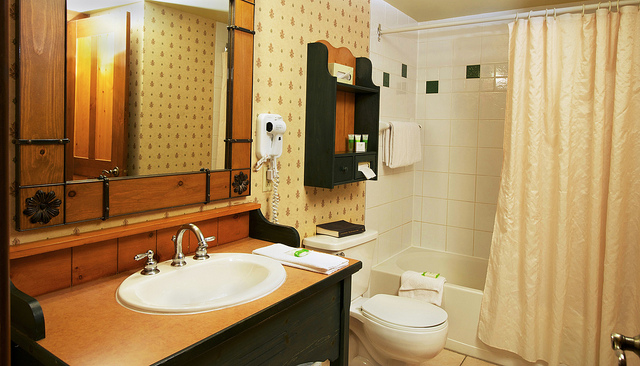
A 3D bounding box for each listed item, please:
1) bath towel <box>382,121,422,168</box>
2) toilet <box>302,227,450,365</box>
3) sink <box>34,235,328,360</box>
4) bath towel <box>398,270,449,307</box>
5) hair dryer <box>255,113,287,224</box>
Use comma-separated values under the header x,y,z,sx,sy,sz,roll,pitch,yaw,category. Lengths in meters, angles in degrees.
x,y,z,sx,sy,sz,roll,pitch,yaw,category
0.767,-0.373,4.000,0.116,0.415,0.590,6,12,35,bath towel
0.465,0.903,3.551,1.198,1.097,0.910,-1,1,29,toilet
-0.692,0.541,2.189,0.856,0.252,1.061,8,13,42,sink
0.888,0.852,3.643,0.399,0.226,0.382,-1,12,17,bath towel
-0.361,-0.101,2.881,0.149,0.707,0.206,3,-1,-14,hair dryer
